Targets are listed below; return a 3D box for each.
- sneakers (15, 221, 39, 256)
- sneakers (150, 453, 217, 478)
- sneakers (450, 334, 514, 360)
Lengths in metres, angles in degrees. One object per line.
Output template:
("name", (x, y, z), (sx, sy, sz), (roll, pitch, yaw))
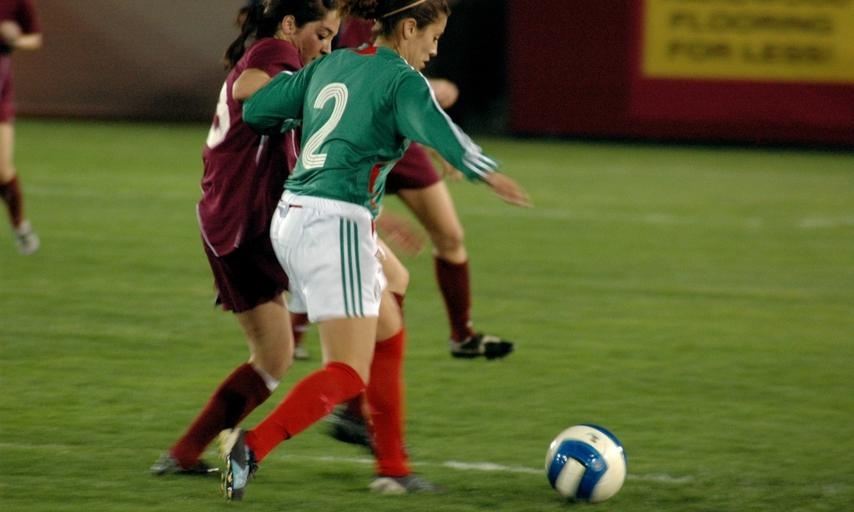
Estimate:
("sneakers", (-4.251, -0.161, 15.899), (0.266, 0.188, 0.353), (7, -18, -3))
("sneakers", (-2.076, 1.814, 12.807), (0.684, 0.220, 0.191), (-3, 0, -2))
("sneakers", (0.515, 0.877, 14.016), (0.543, 0.196, 0.252), (-3, 11, 7))
